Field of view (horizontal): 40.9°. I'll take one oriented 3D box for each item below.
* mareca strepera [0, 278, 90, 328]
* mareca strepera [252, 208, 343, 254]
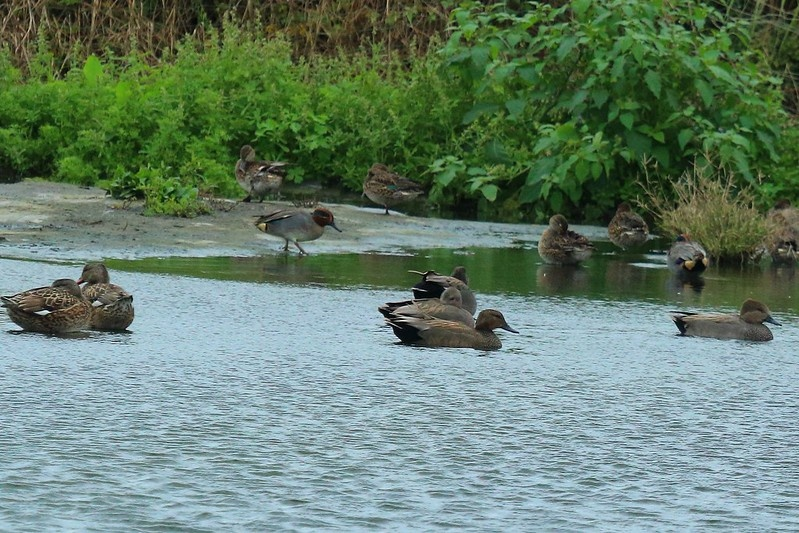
[{"bbox_3d":[-3.062,0.357,9.339,0.743,0.397,0.390,10,-3,-29],"label":"mareca strepera"},{"bbox_3d":[-1.382,-0.469,14.423,0.856,0.606,0.880,1,4,9],"label":"mareca strepera"}]
